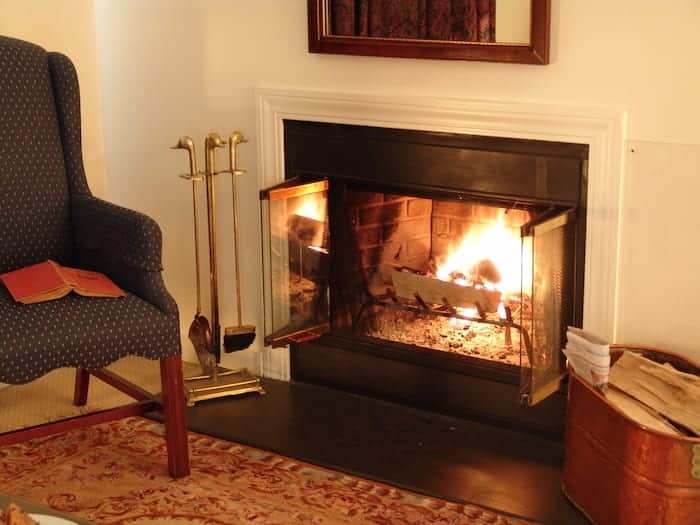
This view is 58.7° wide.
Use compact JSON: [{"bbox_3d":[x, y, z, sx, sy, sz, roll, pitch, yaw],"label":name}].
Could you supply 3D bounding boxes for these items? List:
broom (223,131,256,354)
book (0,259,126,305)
[{"bbox_3d":[-0.491,-0.083,2.700,0.098,0.968,0.206,0,3,22],"label":"broom"},{"bbox_3d":[-0.971,0.053,2.089,0.406,0.086,0.264,-3,16,-21],"label":"book"}]
